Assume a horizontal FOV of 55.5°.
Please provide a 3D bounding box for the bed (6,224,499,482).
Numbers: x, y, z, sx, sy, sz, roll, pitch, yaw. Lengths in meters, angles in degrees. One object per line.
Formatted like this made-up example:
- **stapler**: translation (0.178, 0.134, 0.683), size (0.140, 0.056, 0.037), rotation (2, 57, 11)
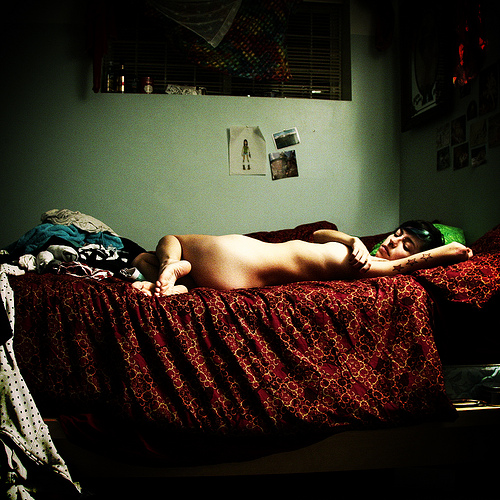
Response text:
- **bed**: translation (-0.010, 0.281, 1.860), size (1.321, 0.550, 0.927), rotation (0, 0, -8)

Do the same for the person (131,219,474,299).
- **person**: translation (0.208, 0.041, 2.001), size (0.957, 0.308, 0.540), rotation (4, 9, -12)

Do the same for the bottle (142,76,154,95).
- **bottle**: translation (-0.708, -1.128, 3.267), size (0.075, 0.124, 0.058), rotation (-3, 9, -13)

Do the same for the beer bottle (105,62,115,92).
- **beer bottle**: translation (-0.974, -1.210, 3.309), size (0.064, 0.210, 0.089), rotation (-3, 9, -15)

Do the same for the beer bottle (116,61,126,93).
- **beer bottle**: translation (-0.896, -1.181, 3.285), size (0.064, 0.198, 0.099), rotation (-2, 8, -3)
